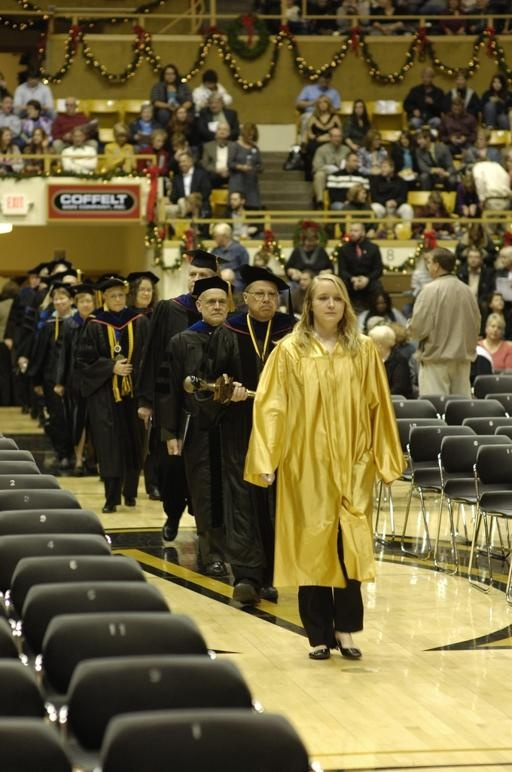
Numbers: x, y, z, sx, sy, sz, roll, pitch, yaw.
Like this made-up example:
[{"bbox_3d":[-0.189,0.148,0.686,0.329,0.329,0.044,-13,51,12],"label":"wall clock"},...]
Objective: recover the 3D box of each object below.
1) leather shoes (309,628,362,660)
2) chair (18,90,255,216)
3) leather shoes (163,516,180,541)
[{"bbox_3d":[0.423,1.373,3.985,0.277,0.123,0.196,2,-1,5],"label":"leather shoes"},{"bbox_3d":[-2.603,-4.884,16.135,4.777,2.370,1.982,2,-1,7],"label":"chair"},{"bbox_3d":[-0.753,1.283,6.665,0.097,0.117,0.275,3,44,-4],"label":"leather shoes"}]
